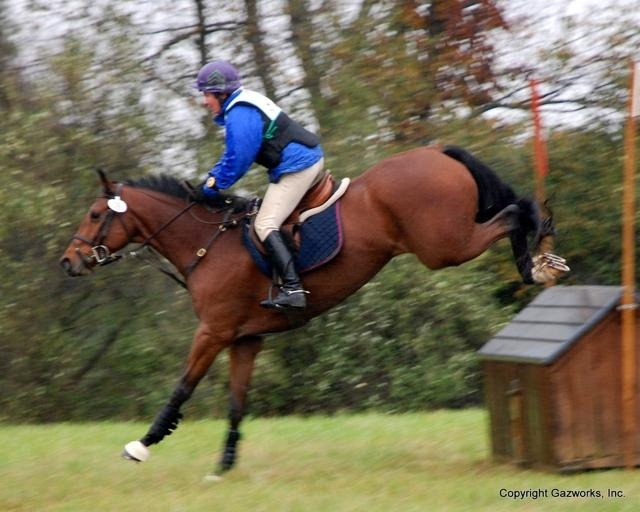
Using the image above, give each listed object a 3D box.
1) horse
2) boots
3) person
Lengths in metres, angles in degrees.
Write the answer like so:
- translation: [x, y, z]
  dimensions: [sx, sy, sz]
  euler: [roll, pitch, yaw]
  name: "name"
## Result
- translation: [-0.098, 0.216, 9.271]
  dimensions: [5.683, 2.561, 1.222]
  euler: [-17, 9, -28]
  name: "horse"
- translation: [-0.344, 0.119, 8.591]
  dimensions: [0.369, 0.674, 0.151]
  euler: [-7, 5, -3]
  name: "boots"
- translation: [-0.432, -0.485, 8.725]
  dimensions: [1.032, 1.873, 0.537]
  euler: [-7, 5, -4]
  name: "person"
